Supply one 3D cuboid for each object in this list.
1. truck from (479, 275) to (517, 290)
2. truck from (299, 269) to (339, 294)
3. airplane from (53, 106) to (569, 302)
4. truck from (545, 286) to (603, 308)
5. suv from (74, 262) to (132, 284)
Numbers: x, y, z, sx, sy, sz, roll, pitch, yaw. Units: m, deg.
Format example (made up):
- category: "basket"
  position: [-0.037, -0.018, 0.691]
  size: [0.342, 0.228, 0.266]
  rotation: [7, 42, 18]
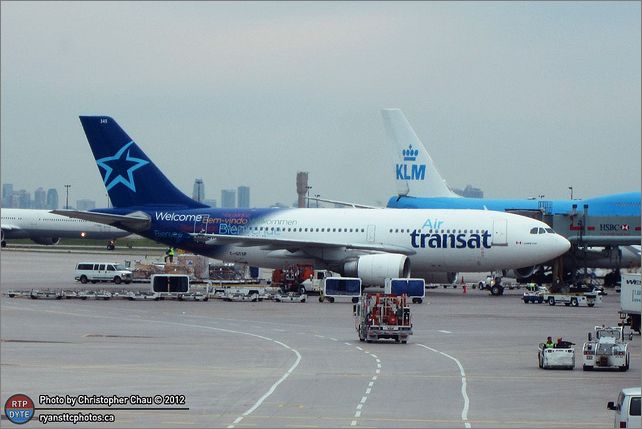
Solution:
- category: "truck"
  position: [12.395, 4.756, 83.873]
  size: [2.390, 0.926, 1.479]
  rotation: [1, 0, 12]
- category: "truck"
  position: [-0.355, 4.067, 74.323]
  size: [2.025, 0.951, 1.359]
  rotation: [-2, -2, 21]
- category: "airplane"
  position: [-0.476, -0.889, 76.870]
  size: [32.251, 10.535, 8.955]
  rotation: [2, -5, 5]
- category: "truck"
  position: [14.726, 4.858, 70.113]
  size: [3.186, 0.873, 1.868]
  rotation: [0, -5, 19]
- category: "suv"
  position: [-15.355, 4.025, 84.291]
  size: [3.272, 1.025, 1.686]
  rotation: [0, 1, -2]
